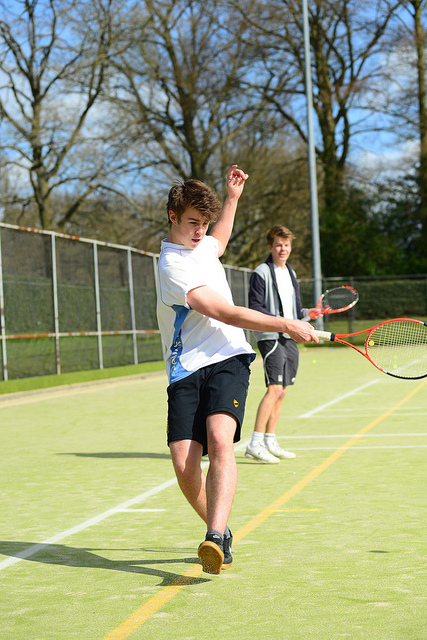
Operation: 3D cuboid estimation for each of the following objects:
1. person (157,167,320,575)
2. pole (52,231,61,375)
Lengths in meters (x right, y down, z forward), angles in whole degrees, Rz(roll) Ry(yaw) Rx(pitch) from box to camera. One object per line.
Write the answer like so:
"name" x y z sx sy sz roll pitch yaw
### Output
"person" 0.042 0.234 3.478 0.509 1.634 1.194 -4 0 -4
"pole" -2.497 -0.258 13.147 0.115 2.293 0.368 -4 0 -11
